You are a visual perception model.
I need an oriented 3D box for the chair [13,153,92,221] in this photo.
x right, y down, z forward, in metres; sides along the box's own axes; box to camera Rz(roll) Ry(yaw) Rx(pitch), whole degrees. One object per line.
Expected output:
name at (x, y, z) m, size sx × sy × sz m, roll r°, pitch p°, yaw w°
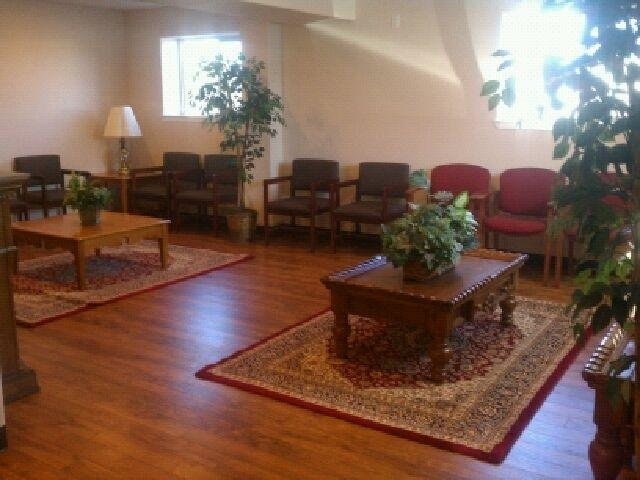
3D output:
chair at (-4.070, -0.719, 7.917) m, size 0.784 × 1.077 × 0.859 m, roll 11°, pitch 14°, yaw 31°

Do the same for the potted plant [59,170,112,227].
potted plant at (-2.561, -0.447, 5.680) m, size 0.394 × 0.475 × 0.353 m, roll -6°, pitch 2°, yaw 8°

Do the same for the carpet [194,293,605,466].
carpet at (0.659, 0.865, 3.996) m, size 1.960 × 0.042 × 2.819 m, roll 8°, pitch 6°, yaw 27°

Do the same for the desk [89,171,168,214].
desk at (-3.177, -0.962, 8.665) m, size 0.846 × 0.958 × 1.009 m, roll 4°, pitch 10°, yaw 28°
